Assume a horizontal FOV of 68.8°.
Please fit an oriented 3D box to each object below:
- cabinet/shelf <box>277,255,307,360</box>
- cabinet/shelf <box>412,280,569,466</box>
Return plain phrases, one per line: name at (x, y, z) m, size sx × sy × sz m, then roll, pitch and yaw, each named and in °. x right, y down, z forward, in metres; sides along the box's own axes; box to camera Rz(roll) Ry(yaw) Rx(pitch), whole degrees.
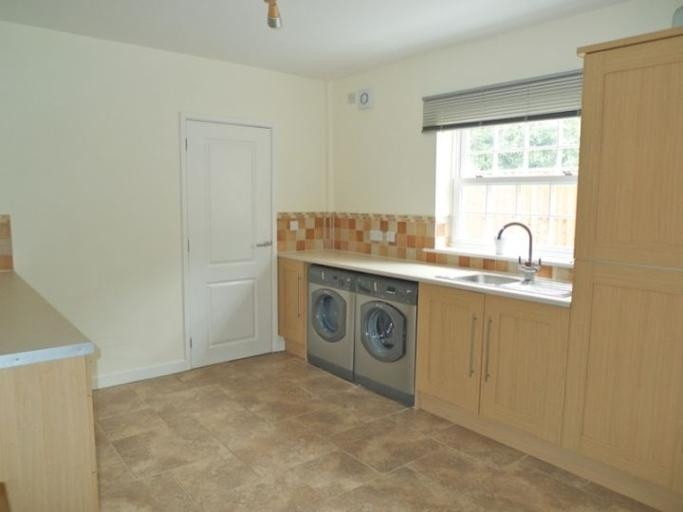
cabinet/shelf at (-0.481, 0.418, 4.849) m, size 0.136 × 0.781 × 0.509 m, roll -8°, pitch 14°, yaw -34°
cabinet/shelf at (1.072, 0.705, 3.534) m, size 1.065 × 1.021 × 0.418 m, roll 9°, pitch 12°, yaw 42°
